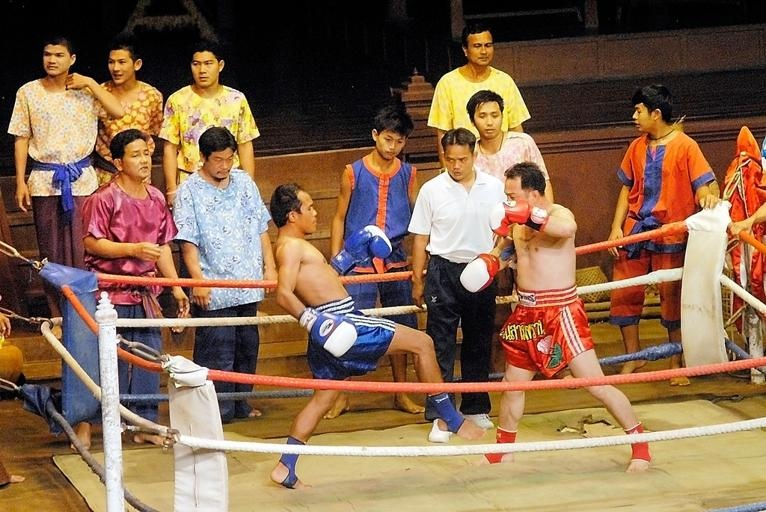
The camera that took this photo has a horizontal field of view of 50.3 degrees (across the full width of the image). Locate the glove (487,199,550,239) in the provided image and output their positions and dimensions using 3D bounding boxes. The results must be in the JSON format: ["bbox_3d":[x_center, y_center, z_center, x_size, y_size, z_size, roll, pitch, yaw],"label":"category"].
[{"bbox_3d":[0.746,-0.215,4.749,0.377,0.140,0.231,-13,3,11],"label":"glove"}]

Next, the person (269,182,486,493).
[{"bbox_3d":[-0.176,0.443,4.890,1.122,1.757,0.467,-4,11,-9],"label":"person"}]

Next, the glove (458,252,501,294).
[{"bbox_3d":[0.606,0.078,5.107,0.228,0.189,0.271,-46,-7,33],"label":"glove"}]

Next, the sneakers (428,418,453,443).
[{"bbox_3d":[0.374,1.161,5.401,0.229,0.115,0.369,0,2,0],"label":"sneakers"}]

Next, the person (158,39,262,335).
[{"bbox_3d":[-1.391,-0.642,6.409,0.836,1.908,0.549,-4,28,-26],"label":"person"}]

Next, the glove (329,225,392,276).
[{"bbox_3d":[-0.144,-0.027,5.113,0.374,0.269,0.165,-40,-15,-9],"label":"glove"}]

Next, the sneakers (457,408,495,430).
[{"bbox_3d":[0.604,1.141,5.668,0.304,0.111,0.097,18,28,-8],"label":"sneakers"}]

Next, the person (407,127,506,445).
[{"bbox_3d":[0.552,0.183,5.615,0.801,2.053,0.701,-5,24,-4],"label":"person"}]
